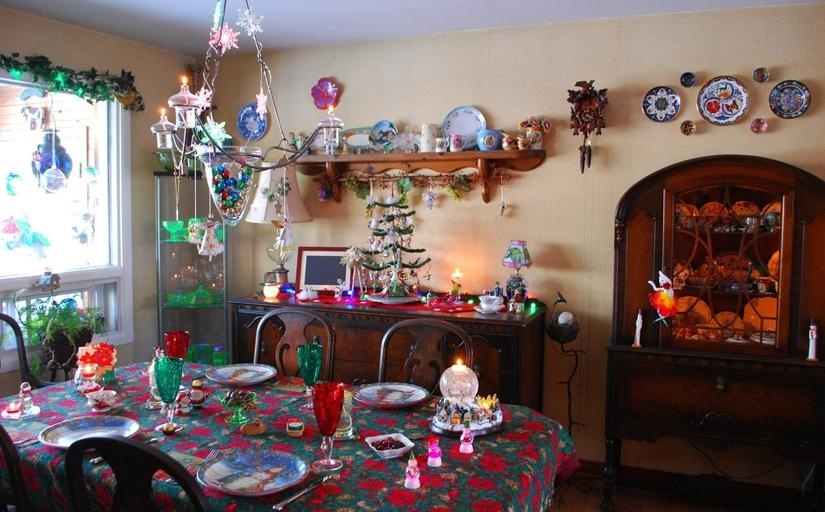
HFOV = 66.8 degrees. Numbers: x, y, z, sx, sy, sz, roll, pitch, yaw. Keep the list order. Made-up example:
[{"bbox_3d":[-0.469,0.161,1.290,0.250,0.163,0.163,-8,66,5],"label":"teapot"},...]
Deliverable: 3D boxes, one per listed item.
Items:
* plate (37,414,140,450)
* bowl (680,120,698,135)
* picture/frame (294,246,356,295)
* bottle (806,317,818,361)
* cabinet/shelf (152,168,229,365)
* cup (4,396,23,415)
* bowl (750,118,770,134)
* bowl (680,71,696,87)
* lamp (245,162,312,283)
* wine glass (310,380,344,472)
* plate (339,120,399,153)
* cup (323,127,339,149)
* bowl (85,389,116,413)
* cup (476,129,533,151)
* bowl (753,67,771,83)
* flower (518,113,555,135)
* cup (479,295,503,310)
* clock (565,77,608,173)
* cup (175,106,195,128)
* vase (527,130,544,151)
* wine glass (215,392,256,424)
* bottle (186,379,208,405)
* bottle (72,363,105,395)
[{"bbox_3d":[-1.605,0.856,3.103,0.308,0.041,0.292,2,5,-16],"label":"plate"},{"bbox_3d":[1.928,-0.904,4.400,0.097,0.107,0.030,0,2,-4],"label":"bowl"},{"bbox_3d":[-0.693,0.125,5.046,0.432,0.331,0.029,-1,-16,10],"label":"picture/frame"},{"bbox_3d":[2.535,0.530,3.985,0.055,0.259,0.080,2,3,33],"label":"bottle"},{"bbox_3d":[-1.887,0.324,5.448,0.357,2.135,0.530,-11,12,-17],"label":"cabinet/shelf"},{"bbox_3d":[-2.083,0.789,3.295,0.079,0.080,0.087,-1,-6,0],"label":"cup"},{"bbox_3d":[2.366,-0.891,4.286,0.117,0.103,0.027,1,2,8],"label":"bowl"},{"bbox_3d":[1.922,-1.234,4.391,0.095,0.106,0.030,1,2,19],"label":"bowl"},{"bbox_3d":[-1.089,-0.256,5.180,0.618,0.922,0.566,-1,-2,-13],"label":"lamp"},{"bbox_3d":[-0.397,0.780,2.955,0.147,0.401,0.250,0,2,-5],"label":"wine glass"},{"bbox_3d":[-0.355,-0.961,5.047,0.407,0.189,0.231,1,7,25],"label":"plate"},{"bbox_3d":[-0.418,-0.618,3.283,0.110,0.109,0.098,-1,2,-3],"label":"cup"},{"bbox_3d":[-1.660,0.761,3.329,0.125,0.074,0.119,3,-1,0],"label":"bowl"},{"bbox_3d":[0.690,-0.849,4.652,0.365,0.133,0.171,1,3,19],"label":"cup"},{"bbox_3d":[2.372,-1.233,4.281,0.105,0.107,0.042,1,2,23],"label":"bowl"},{"bbox_3d":[0.916,-0.972,4.652,0.235,0.122,0.095,1,2,9],"label":"flower"},{"bbox_3d":[0.562,0.332,4.461,0.144,0.066,0.098,2,-5,-31],"label":"cup"},{"bbox_3d":[1.254,-0.938,4.519,0.271,0.661,0.176,1,2,16],"label":"clock"},{"bbox_3d":[-1.175,-0.717,3.228,0.102,0.103,0.098,3,13,-1],"label":"cup"},{"bbox_3d":[0.894,-0.852,4.626,0.149,0.144,0.137,-3,6,20],"label":"vase"},{"bbox_3d":[-0.919,0.786,3.279,0.172,0.131,0.165,2,-8,-11],"label":"wine glass"},{"bbox_3d":[-1.166,0.736,3.388,0.097,0.082,0.119,0,7,-10],"label":"bottle"},{"bbox_3d":[-1.741,0.651,3.419,0.175,0.160,0.176,1,4,-4],"label":"bottle"}]
